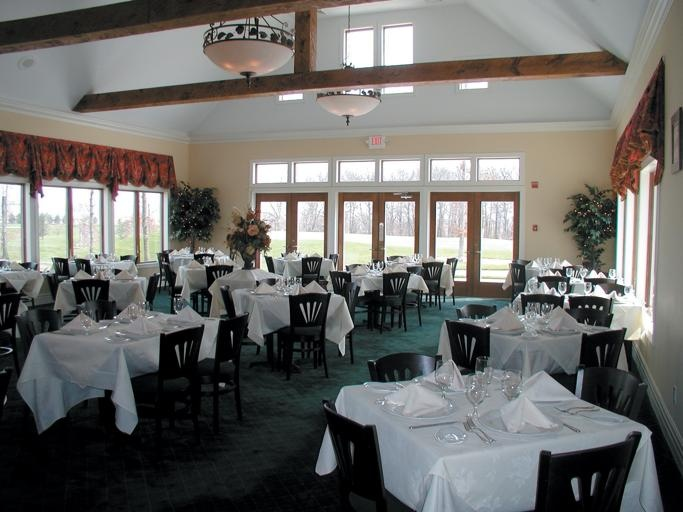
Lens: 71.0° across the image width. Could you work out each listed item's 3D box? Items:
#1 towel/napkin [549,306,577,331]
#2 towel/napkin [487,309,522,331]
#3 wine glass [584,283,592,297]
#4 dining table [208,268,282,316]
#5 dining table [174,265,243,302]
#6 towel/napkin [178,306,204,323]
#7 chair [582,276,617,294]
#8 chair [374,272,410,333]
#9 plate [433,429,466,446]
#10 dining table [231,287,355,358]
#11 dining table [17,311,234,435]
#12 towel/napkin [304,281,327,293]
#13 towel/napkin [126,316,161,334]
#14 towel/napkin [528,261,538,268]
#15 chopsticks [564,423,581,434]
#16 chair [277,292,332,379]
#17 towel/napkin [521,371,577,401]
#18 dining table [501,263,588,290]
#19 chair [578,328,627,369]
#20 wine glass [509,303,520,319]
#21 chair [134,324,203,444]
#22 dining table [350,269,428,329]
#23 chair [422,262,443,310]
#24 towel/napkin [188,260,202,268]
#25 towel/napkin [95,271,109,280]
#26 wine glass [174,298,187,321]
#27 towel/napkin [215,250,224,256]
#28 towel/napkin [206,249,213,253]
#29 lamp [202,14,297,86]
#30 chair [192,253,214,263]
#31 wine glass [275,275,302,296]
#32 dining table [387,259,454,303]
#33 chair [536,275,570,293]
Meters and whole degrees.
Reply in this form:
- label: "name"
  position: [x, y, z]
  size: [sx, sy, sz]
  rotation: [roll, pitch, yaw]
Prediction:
- label: "towel/napkin"
  position: [2.015, 0.587, 4.391]
  size: [0.182, 0.098, 0.224]
  rotation: [0, 20, 6]
- label: "towel/napkin"
  position: [1.506, 0.595, 4.400]
  size: [0.216, 0.091, 0.221]
  rotation: [0, 6, 3]
- label: "wine glass"
  position: [2.934, 0.401, 5.676]
  size: [0.059, 0.133, 0.193]
  rotation: [4, 7, 23]
- label: "dining table"
  position: [-1.509, 0.437, 6.835]
  size: [0.671, 0.491, 0.713]
  rotation: [0, 6, -1]
- label: "dining table"
  position: [-2.287, 0.516, 8.785]
  size: [1.212, 0.518, 1.233]
  rotation: [0, -6, -14]
- label: "towel/napkin"
  position: [-1.372, 0.528, 4.413]
  size: [0.170, 0.073, 0.163]
  rotation: [6, -2, -42]
- label: "chair"
  position: [3.798, 0.398, 6.927]
  size: [0.457, 0.215, 0.577]
  rotation: [1, 3, 9]
- label: "chair"
  position: [0.863, 0.734, 7.901]
  size: [0.528, 0.949, 0.646]
  rotation: [2, 1, -15]
- label: "plate"
  position: [0.556, 0.904, 2.405]
  size: [0.154, 0.021, 0.130]
  rotation: [-5, 9, -42]
- label: "dining table"
  position: [-0.566, 0.910, 6.321]
  size: [1.644, 0.685, 1.711]
  rotation: [-2, -9, 26]
- label: "dining table"
  position: [-1.936, 0.843, 4.004]
  size: [1.120, 0.672, 1.299]
  rotation: [2, 4, 22]
- label: "towel/napkin"
  position: [-0.320, 0.414, 6.096]
  size: [0.200, 0.095, 0.196]
  rotation: [7, -3, -35]
- label: "towel/napkin"
  position: [-1.668, 0.600, 4.046]
  size: [0.194, 0.087, 0.202]
  rotation: [1, 0, 28]
- label: "towel/napkin"
  position: [3.772, 0.175, 9.376]
  size: [0.174, 0.081, 0.241]
  rotation: [-2, 2, 37]
- label: "chopsticks"
  position: [1.210, 0.897, 2.497]
  size: [0.022, 0.020, 0.092]
  rotation: [-22, 16, -5]
- label: "chair"
  position: [-0.450, 0.915, 5.829]
  size: [0.625, 1.049, 0.686]
  rotation: [0, 7, -9]
- label: "towel/napkin"
  position: [1.231, 0.780, 2.843]
  size: [0.286, 0.140, 0.188]
  rotation: [-10, -8, 12]
- label: "dining table"
  position: [3.673, 0.311, 8.767]
  size: [0.849, 0.328, 0.853]
  rotation: [-1, -4, 8]
- label: "chair"
  position: [2.075, 0.723, 3.781]
  size: [0.417, 0.312, 0.146]
  rotation: [0, 7, -10]
- label: "wine glass"
  position: [1.815, 0.573, 4.978]
  size: [0.114, 0.210, 0.118]
  rotation: [-2, -3, 2]
- label: "chair"
  position: [-1.443, 1.086, 4.010]
  size: [0.558, 1.040, 0.499]
  rotation: [-3, 8, -25]
- label: "dining table"
  position: [0.890, 0.602, 8.090]
  size: [1.194, 1.210, 0.929]
  rotation: [-1, 10, -8]
- label: "chair"
  position: [1.783, 0.558, 9.629]
  size: [0.531, 0.918, 0.620]
  rotation: [1, 5, -11]
- label: "towel/napkin"
  position: [-2.699, 0.168, 8.865]
  size: [0.202, 0.111, 0.248]
  rotation: [1, -9, -12]
- label: "towel/napkin"
  position: [-3.577, 0.293, 7.163]
  size: [0.108, 0.125, 0.111]
  rotation: [0, -2, 1]
- label: "wine glass"
  position: [-1.504, 0.490, 4.453]
  size: [0.095, 0.183, 0.064]
  rotation: [3, 3, -12]
- label: "towel/napkin"
  position: [-3.010, -0.064, 11.803]
  size: [0.201, 0.106, 0.279]
  rotation: [1, 2, -1]
- label: "towel/napkin"
  position: [-3.272, -0.121, 11.938]
  size: [0.128, 0.060, 0.181]
  rotation: [1, 6, 5]
- label: "lamp"
  position: [-1.167, -2.586, 6.112]
  size: [1.065, 0.977, 1.090]
  rotation: [0, 3, 10]
- label: "chair"
  position: [-2.888, 0.044, 10.083]
  size: [0.297, 0.226, 0.300]
  rotation: [-1, 5, -15]
- label: "wine glass"
  position: [-0.661, 0.387, 6.149]
  size: [0.285, 0.184, 0.279]
  rotation: [-1, 0, 15]
- label: "dining table"
  position: [1.981, 0.460, 10.536]
  size: [1.037, 0.649, 1.154]
  rotation: [4, 3, 14]
- label: "chair"
  position: [3.117, 0.375, 7.056]
  size: [0.395, 0.305, 0.350]
  rotation: [0, 2, 5]
